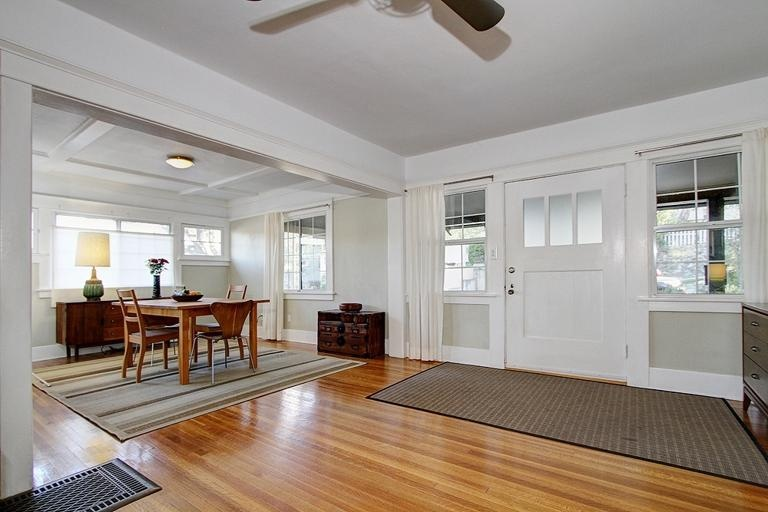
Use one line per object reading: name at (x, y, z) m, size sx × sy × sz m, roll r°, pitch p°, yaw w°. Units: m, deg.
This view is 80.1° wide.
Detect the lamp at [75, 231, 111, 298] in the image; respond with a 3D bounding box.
lamp at (-4.600, 0.148, 7.241) m, size 0.452 × 1.053 × 0.535 m, roll 6°, pitch 14°, yaw 31°

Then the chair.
chair at (-2.455, 1.001, 6.079) m, size 1.471 × 0.880 × 1.159 m, roll -3°, pitch -5°, yaw 36°

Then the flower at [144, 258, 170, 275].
flower at (-3.750, 0.166, 7.449) m, size 0.291 × 0.203 × 0.283 m, roll 2°, pitch -1°, yaw 12°

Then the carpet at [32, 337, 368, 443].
carpet at (-2.498, 1.787, 6.080) m, size 4.180 × 0.031 × 3.771 m, roll 14°, pitch -12°, yaw -27°

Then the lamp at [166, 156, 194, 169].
lamp at (-2.971, -1.377, 6.648) m, size 0.354 × 0.159 × 0.251 m, roll -5°, pitch 12°, yaw -23°

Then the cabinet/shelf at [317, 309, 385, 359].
cabinet/shelf at (-0.476, 1.164, 6.997) m, size 1.083 × 0.704 × 0.649 m, roll -3°, pitch -8°, yaw 32°
